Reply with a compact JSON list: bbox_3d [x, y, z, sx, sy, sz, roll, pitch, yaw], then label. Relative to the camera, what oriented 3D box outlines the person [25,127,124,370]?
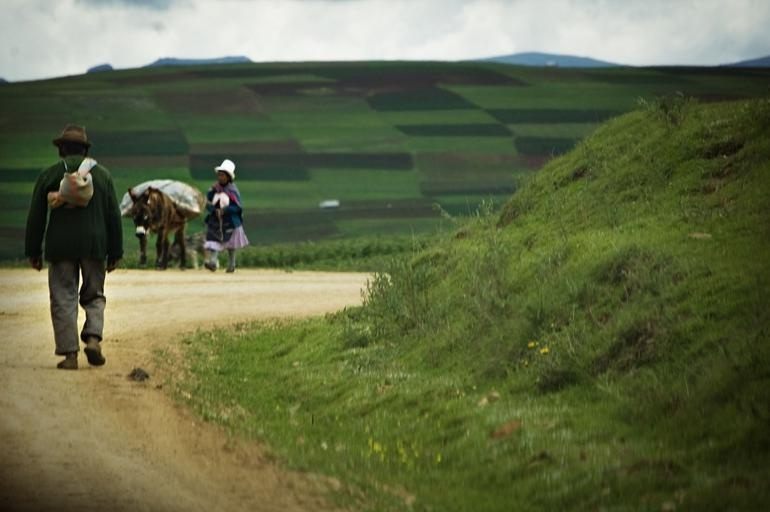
[{"bbox_3d":[-3.800,-0.151,15.913,1.034,2.942,0.726,-1,7,-26],"label":"person"}]
